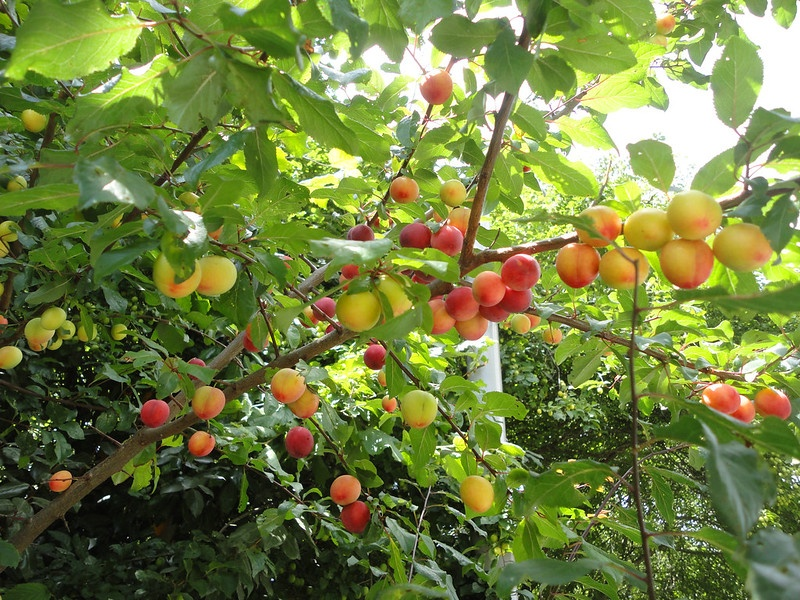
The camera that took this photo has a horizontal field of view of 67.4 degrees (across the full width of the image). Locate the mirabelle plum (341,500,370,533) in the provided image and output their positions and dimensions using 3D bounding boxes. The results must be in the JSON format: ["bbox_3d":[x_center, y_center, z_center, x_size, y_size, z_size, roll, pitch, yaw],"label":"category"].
[{"bbox_3d":[-0.155,0.791,2.221,0.110,0.112,0.123,-2,-92,2],"label":"mirabelle plum"}]
